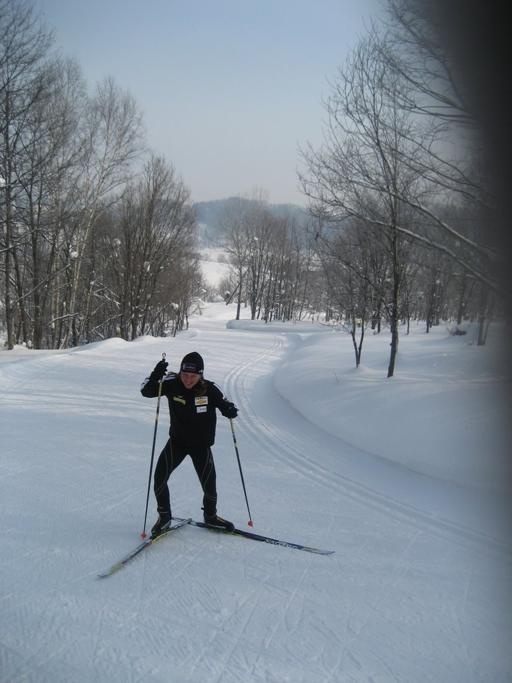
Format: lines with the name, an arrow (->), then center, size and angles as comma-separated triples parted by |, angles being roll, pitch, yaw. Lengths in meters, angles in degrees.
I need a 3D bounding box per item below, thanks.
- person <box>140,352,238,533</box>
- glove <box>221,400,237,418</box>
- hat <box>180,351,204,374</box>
person -> -0.566, 0.861, 4.716 | 0.694, 1.659, 0.634 | 1, 10, -3
glove -> -0.212, 0.570, 4.690 | 0.063, 0.156, 0.119 | -28, -15, -43
hat -> -0.528, 0.181, 4.689 | 0.152, 0.195, 0.183 | 15, -6, 3
